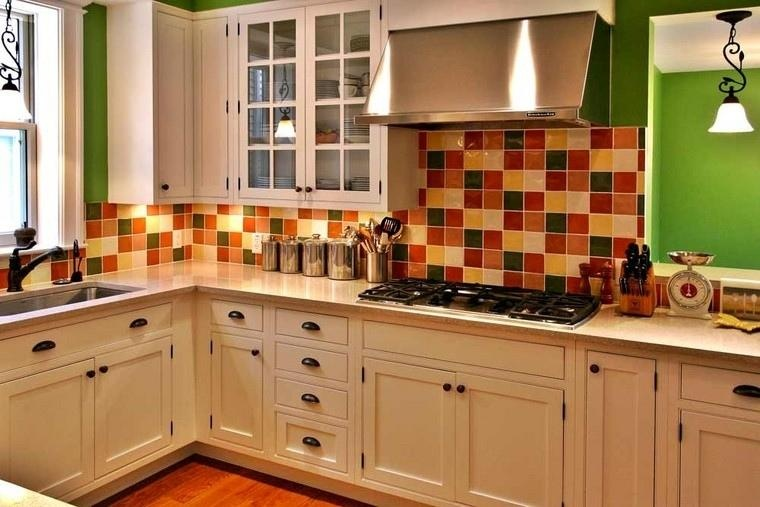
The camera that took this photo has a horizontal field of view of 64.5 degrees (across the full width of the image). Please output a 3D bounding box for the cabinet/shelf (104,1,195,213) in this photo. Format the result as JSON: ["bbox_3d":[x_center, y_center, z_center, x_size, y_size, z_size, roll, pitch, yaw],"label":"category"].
[{"bbox_3d":[-1.617,-1.043,4.172,0.569,1.353,0.578,-1,15,-2],"label":"cabinet/shelf"}]

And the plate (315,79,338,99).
[{"bbox_3d":[-0.345,-1.072,3.915,0.171,0.118,0.031,6,17,22],"label":"plate"}]

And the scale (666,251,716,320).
[{"bbox_3d":[1.711,0.170,3.302,0.194,0.331,0.234,-9,10,-42],"label":"scale"}]

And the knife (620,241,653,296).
[{"bbox_3d":[1.438,0.077,3.361,0.150,0.257,0.199,6,17,24],"label":"knife"}]

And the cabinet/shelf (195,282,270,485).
[{"bbox_3d":[-0.986,0.788,3.925,0.576,0.973,0.193,6,17,24],"label":"cabinet/shelf"}]

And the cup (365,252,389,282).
[{"bbox_3d":[-0.021,0.090,3.970,0.190,0.191,0.177,1,1,0],"label":"cup"}]

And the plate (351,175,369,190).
[{"bbox_3d":[-0.130,-0.451,3.854,0.150,0.092,0.023,6,17,25],"label":"plate"}]

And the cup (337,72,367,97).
[{"bbox_3d":[-0.171,-1.079,3.841,0.163,0.115,0.059,5,17,25],"label":"cup"}]

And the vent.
[{"bbox_3d":[0.614,-1.055,3.487,1.348,0.617,0.581,5,16,21],"label":"vent"}]

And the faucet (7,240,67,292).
[{"bbox_3d":[-2.170,0.066,3.753,0.321,0.264,0.305,-10,18,-30],"label":"faucet"}]

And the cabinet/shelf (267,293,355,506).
[{"bbox_3d":[-0.424,0.853,3.697,0.686,0.983,0.194,5,17,22],"label":"cabinet/shelf"}]

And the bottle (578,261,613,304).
[{"bbox_3d":[1.292,0.169,3.587,0.253,0.292,0.109,2,8,36],"label":"bottle"}]
